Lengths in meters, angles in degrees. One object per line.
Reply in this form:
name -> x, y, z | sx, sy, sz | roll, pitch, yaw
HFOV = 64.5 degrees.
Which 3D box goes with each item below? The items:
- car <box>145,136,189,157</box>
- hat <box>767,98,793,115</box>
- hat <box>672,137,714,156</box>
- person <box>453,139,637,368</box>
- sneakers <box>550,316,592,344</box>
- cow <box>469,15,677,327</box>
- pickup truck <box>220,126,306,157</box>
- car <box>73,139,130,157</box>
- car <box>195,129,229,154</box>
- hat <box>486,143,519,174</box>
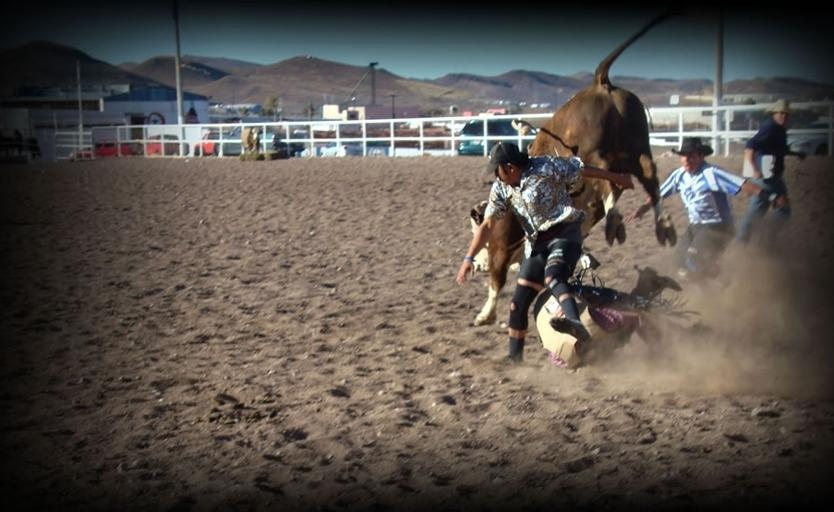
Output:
car -> -11.403, -5.022, 29.989 | 1.703, 0.997, 3.439 | -2, 8, -22
hat -> 4.804, -1.982, 8.750 | 0.274, 0.190, 0.284 | -4, 10, -36
hat -> 3.359, -1.310, 8.232 | 0.496, 0.197, 0.533 | -3, 1, 0
person -> 1.145, 0.006, 6.388 | 1.309, 2.135, 0.810 | 7, 10, 33
sneakers -> 1.384, 0.660, 5.983 | 0.470, 0.159, 0.206 | 21, -35, -17
cow -> 2.057, -1.236, 8.051 | 0.884, 2.042, 3.860 | -8, 0, -7
pickup truck -> -6.687, -4.758, 27.861 | 3.011, 1.283, 2.157 | 5, 11, 20
car -> -14.567, -4.902, 31.321 | 2.380, 0.665, 1.379 | 0, 3, 7
car -> -8.908, -4.930, 28.664 | 1.682, 0.892, 1.076 | 5, 9, 25
hat -> 0.815, -0.913, 6.207 | 0.337, 0.181, 0.221 | -29, 28, 13
